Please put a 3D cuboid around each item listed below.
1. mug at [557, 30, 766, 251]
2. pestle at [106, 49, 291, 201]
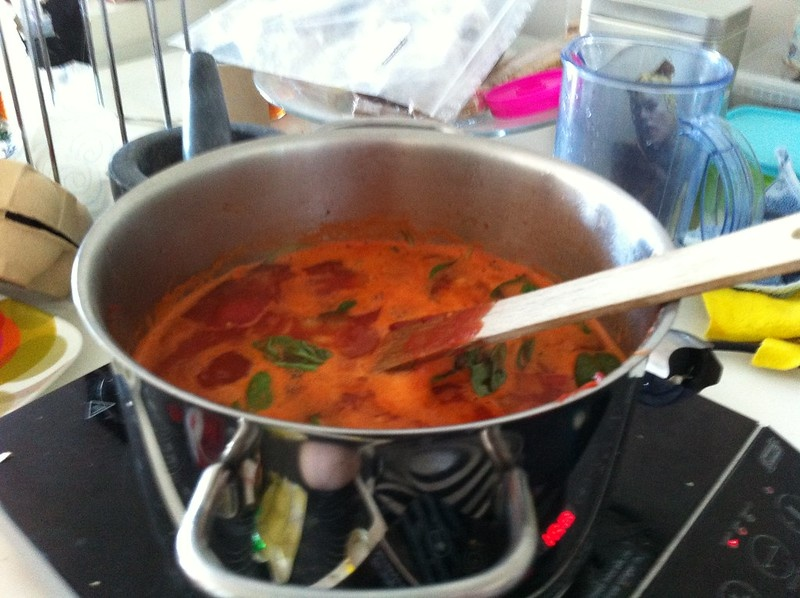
[{"bbox_3d":[0.252,-0.108,0.731,0.138,0.298,0.130,1,36,4],"label":"mug"},{"bbox_3d":[-0.182,-0.150,0.665,0.151,0.152,0.155,14,33,18],"label":"pestle"}]
